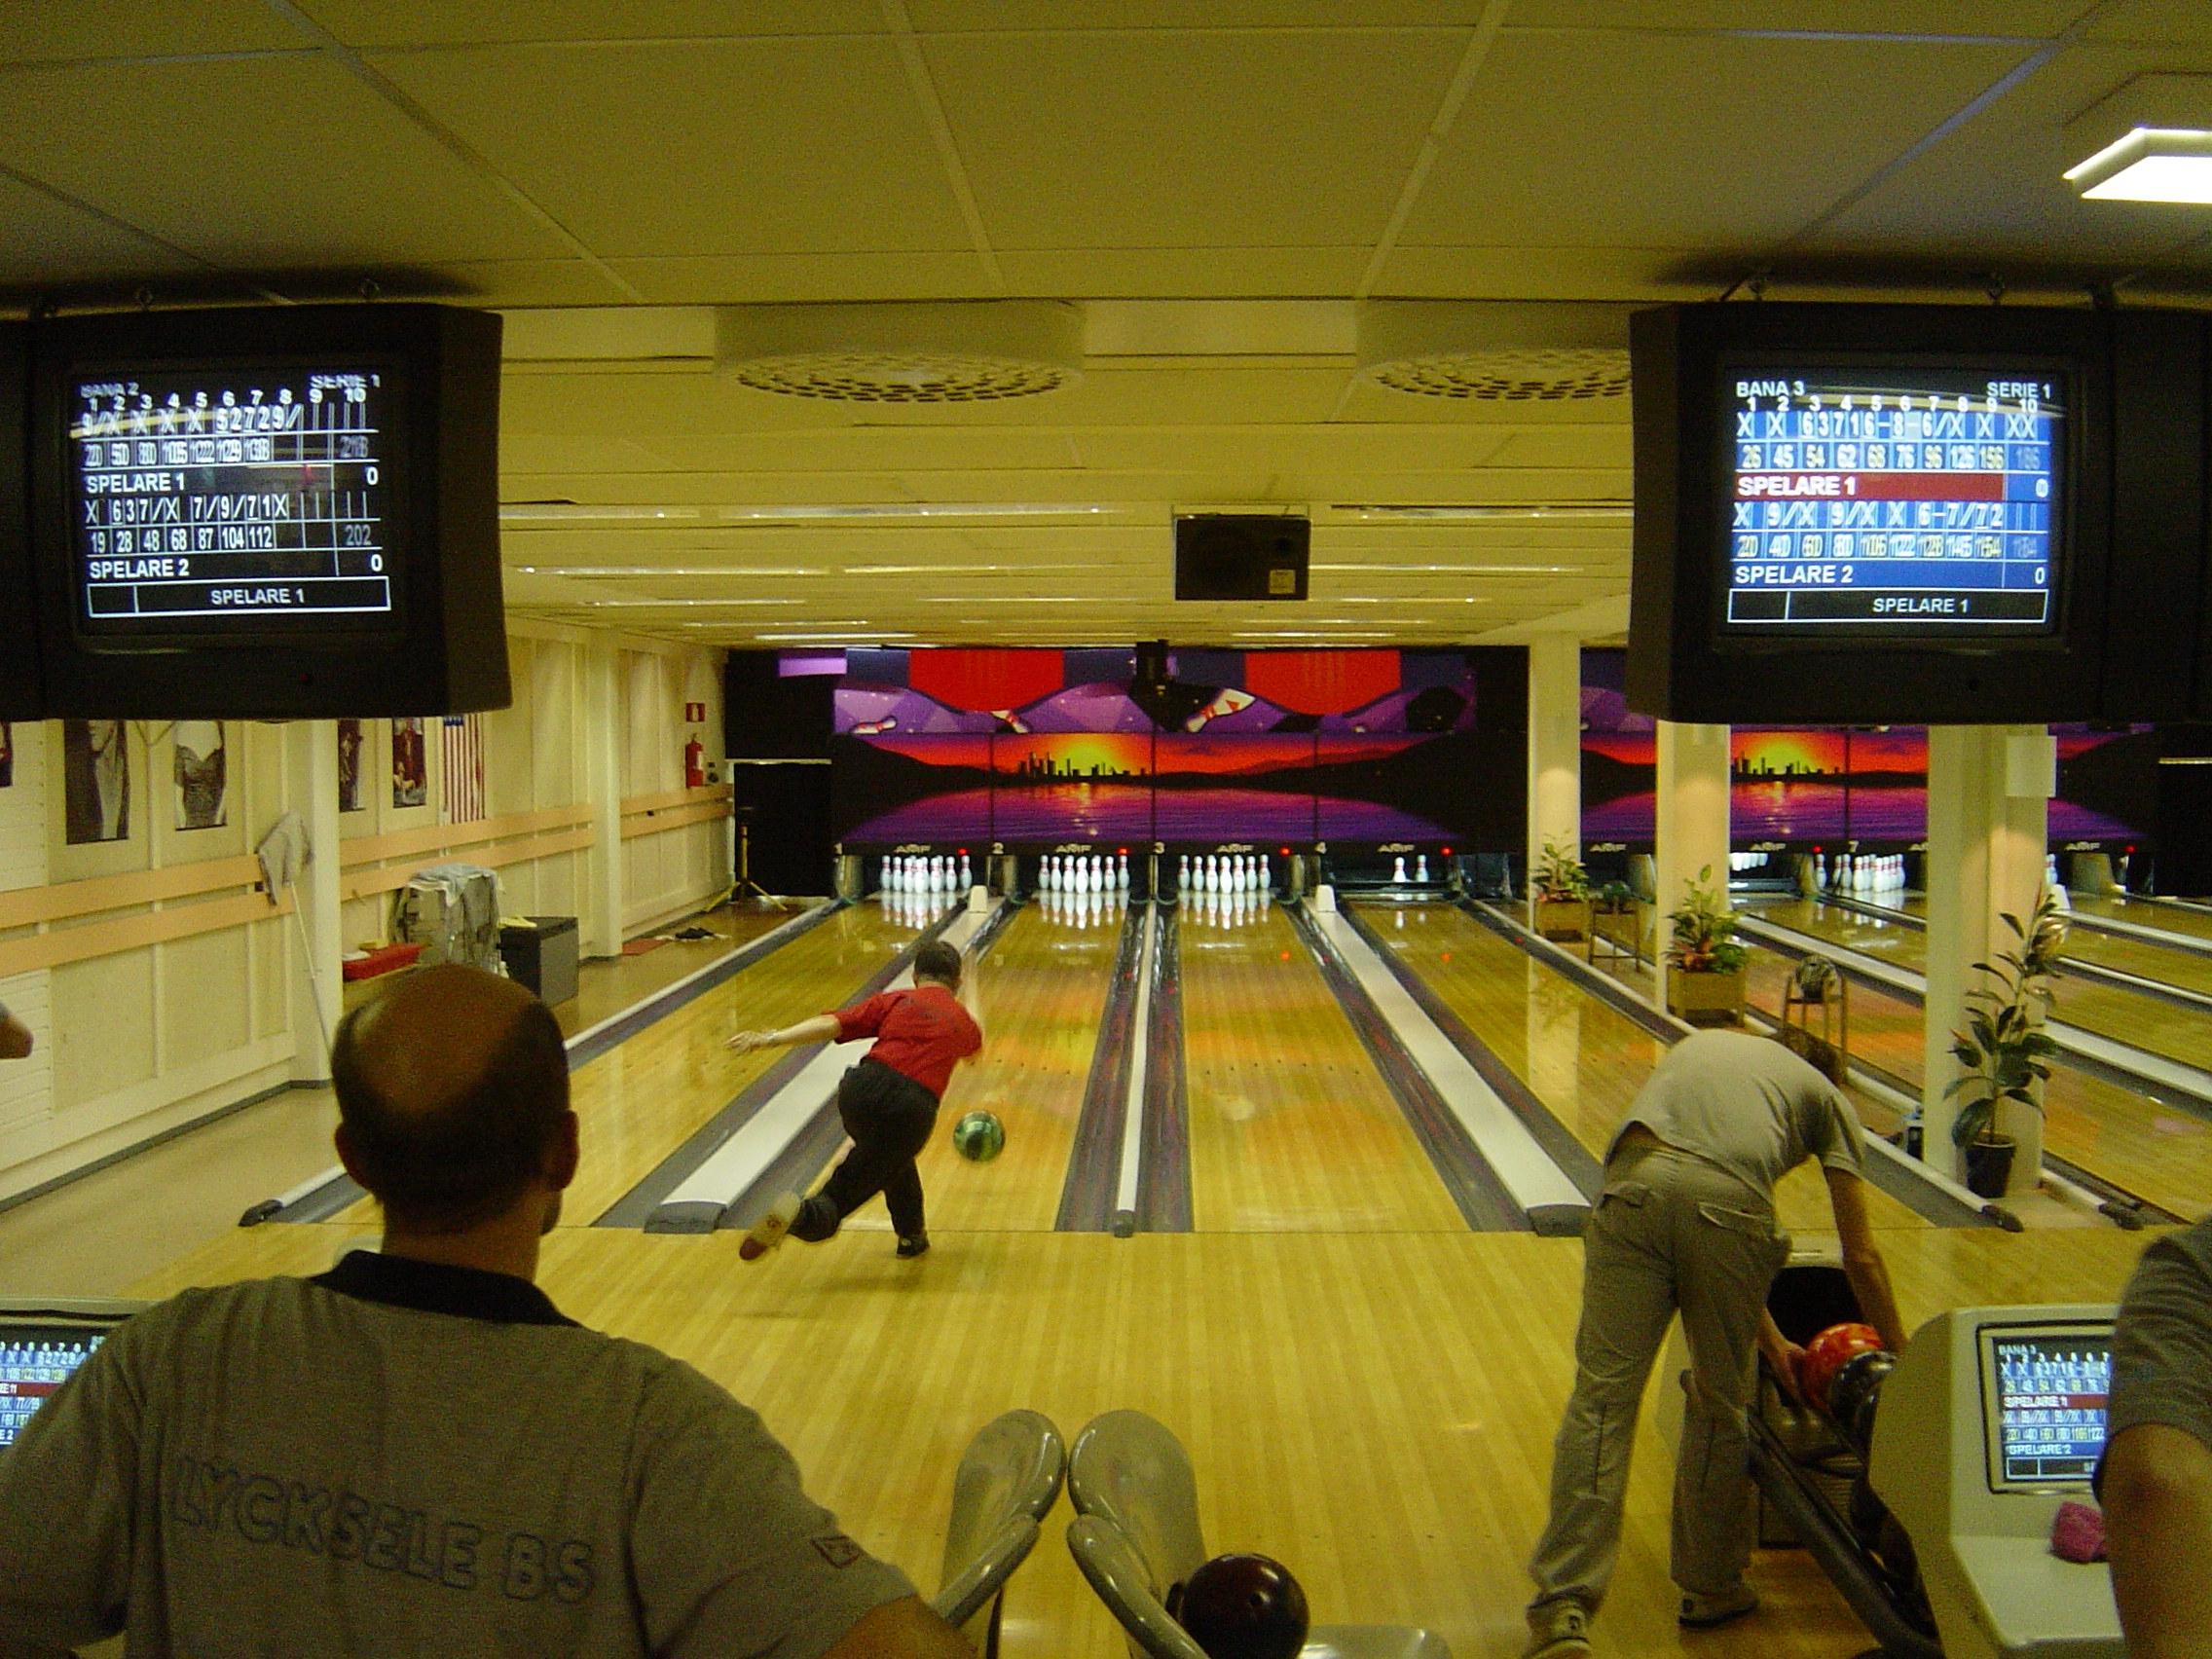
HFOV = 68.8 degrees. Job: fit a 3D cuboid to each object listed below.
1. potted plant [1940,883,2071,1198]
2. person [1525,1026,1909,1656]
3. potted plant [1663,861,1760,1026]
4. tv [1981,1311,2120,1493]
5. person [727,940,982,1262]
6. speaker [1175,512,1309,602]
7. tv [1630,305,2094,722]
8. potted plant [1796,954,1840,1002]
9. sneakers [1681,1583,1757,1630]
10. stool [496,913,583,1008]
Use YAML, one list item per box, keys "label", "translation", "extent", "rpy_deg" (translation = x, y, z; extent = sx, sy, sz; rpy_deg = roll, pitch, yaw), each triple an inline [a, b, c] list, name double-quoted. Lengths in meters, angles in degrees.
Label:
- label: "potted plant"
  translation: [3.359, 0.808, 6.036]
  extent: [0.619, 1.185, 0.340]
  rpy_deg: [-5, 9, -36]
- label: "person"
  translation: [1.100, 1.006, 3.121]
  extent: [0.902, 1.130, 0.447]
  rpy_deg: [-5, 9, -37]
- label: "potted plant"
  translation: [3.560, 0.737, 9.641]
  extent: [0.484, 0.858, 0.452]
  rpy_deg: [-7, 11, -35]
- label: "tv"
  translation: [1.483, 0.888, 2.456]
  extent: [0.099, 0.252, 0.272]
  rpy_deg: [18, -24, -15]
- label: "person"
  translation: [-0.724, 0.812, 4.935]
  extent: [0.463, 0.992, 1.097]
  rpy_deg: [1, -11, 24]
- label: "speaker"
  translation: [0.373, -0.749, 4.508]
  extent: [0.444, 0.265, 0.232]
  rpy_deg: [0, 2, 3]
- label: "tv"
  translation: [1.225, -0.520, 2.598]
  extent: [0.735, 0.612, 0.256]
  rpy_deg: [0, 1, -1]
- label: "potted plant"
  translation: [3.507, 0.761, 8.020]
  extent: [0.146, 0.251, 0.440]
  rpy_deg: [3, 7, 19]
- label: "sneakers"
  translation: [1.207, 1.542, 3.185]
  extent: [0.164, 0.066, 0.058]
  rpy_deg: [-3, 3, -25]
- label: "stool"
  translation: [-2.963, 0.668, 8.427]
  extent: [0.419, 0.490, 0.757]
  rpy_deg: [0, 3, 1]
